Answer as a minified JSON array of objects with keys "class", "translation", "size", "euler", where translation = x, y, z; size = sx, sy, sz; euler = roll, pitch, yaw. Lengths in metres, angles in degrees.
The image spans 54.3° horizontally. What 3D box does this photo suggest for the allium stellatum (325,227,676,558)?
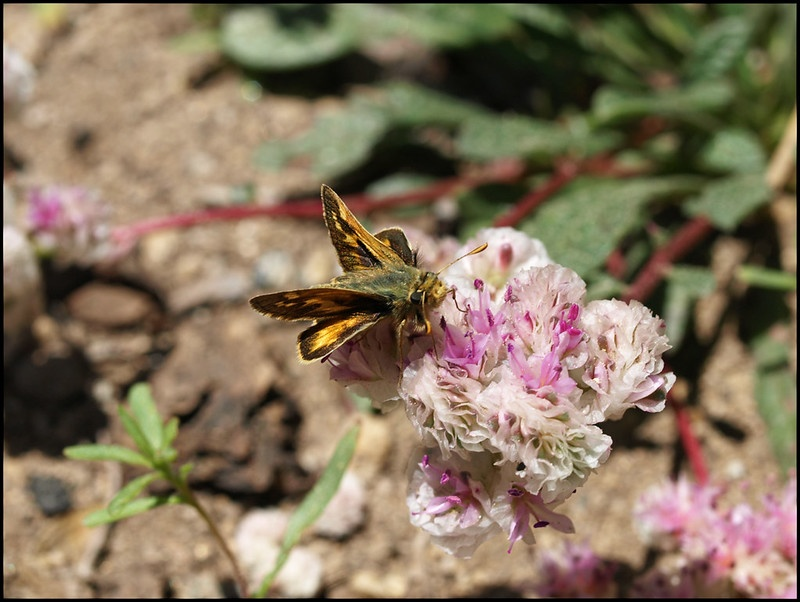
[{"class":"allium stellatum","translation":[0.208,0.186,1.557],"size":[0.621,0.207,0.575],"euler":[-42,84,-5]}]
